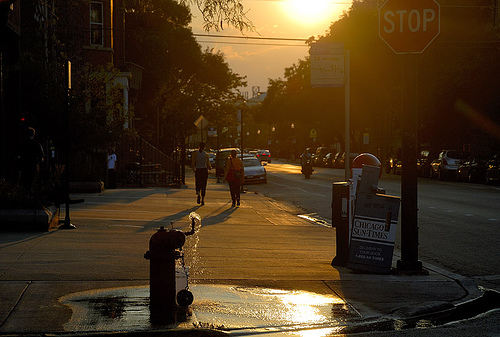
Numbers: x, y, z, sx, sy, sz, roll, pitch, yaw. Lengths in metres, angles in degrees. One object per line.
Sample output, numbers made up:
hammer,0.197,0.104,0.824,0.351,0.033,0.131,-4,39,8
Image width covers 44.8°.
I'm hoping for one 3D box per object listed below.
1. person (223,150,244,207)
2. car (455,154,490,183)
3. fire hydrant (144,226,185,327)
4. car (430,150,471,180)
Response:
person,-0.558,0.413,21.905,0.637,2.044,0.863,1,-2,-11
car,13.774,0.132,37.234,1.033,1.098,2.408,-1,6,-6
fire hydrant,-1.349,1.639,9.580,0.609,1.447,0.599,5,6,41
car,14.237,-0.247,42.660,2.410,2.262,5.689,1,2,8
